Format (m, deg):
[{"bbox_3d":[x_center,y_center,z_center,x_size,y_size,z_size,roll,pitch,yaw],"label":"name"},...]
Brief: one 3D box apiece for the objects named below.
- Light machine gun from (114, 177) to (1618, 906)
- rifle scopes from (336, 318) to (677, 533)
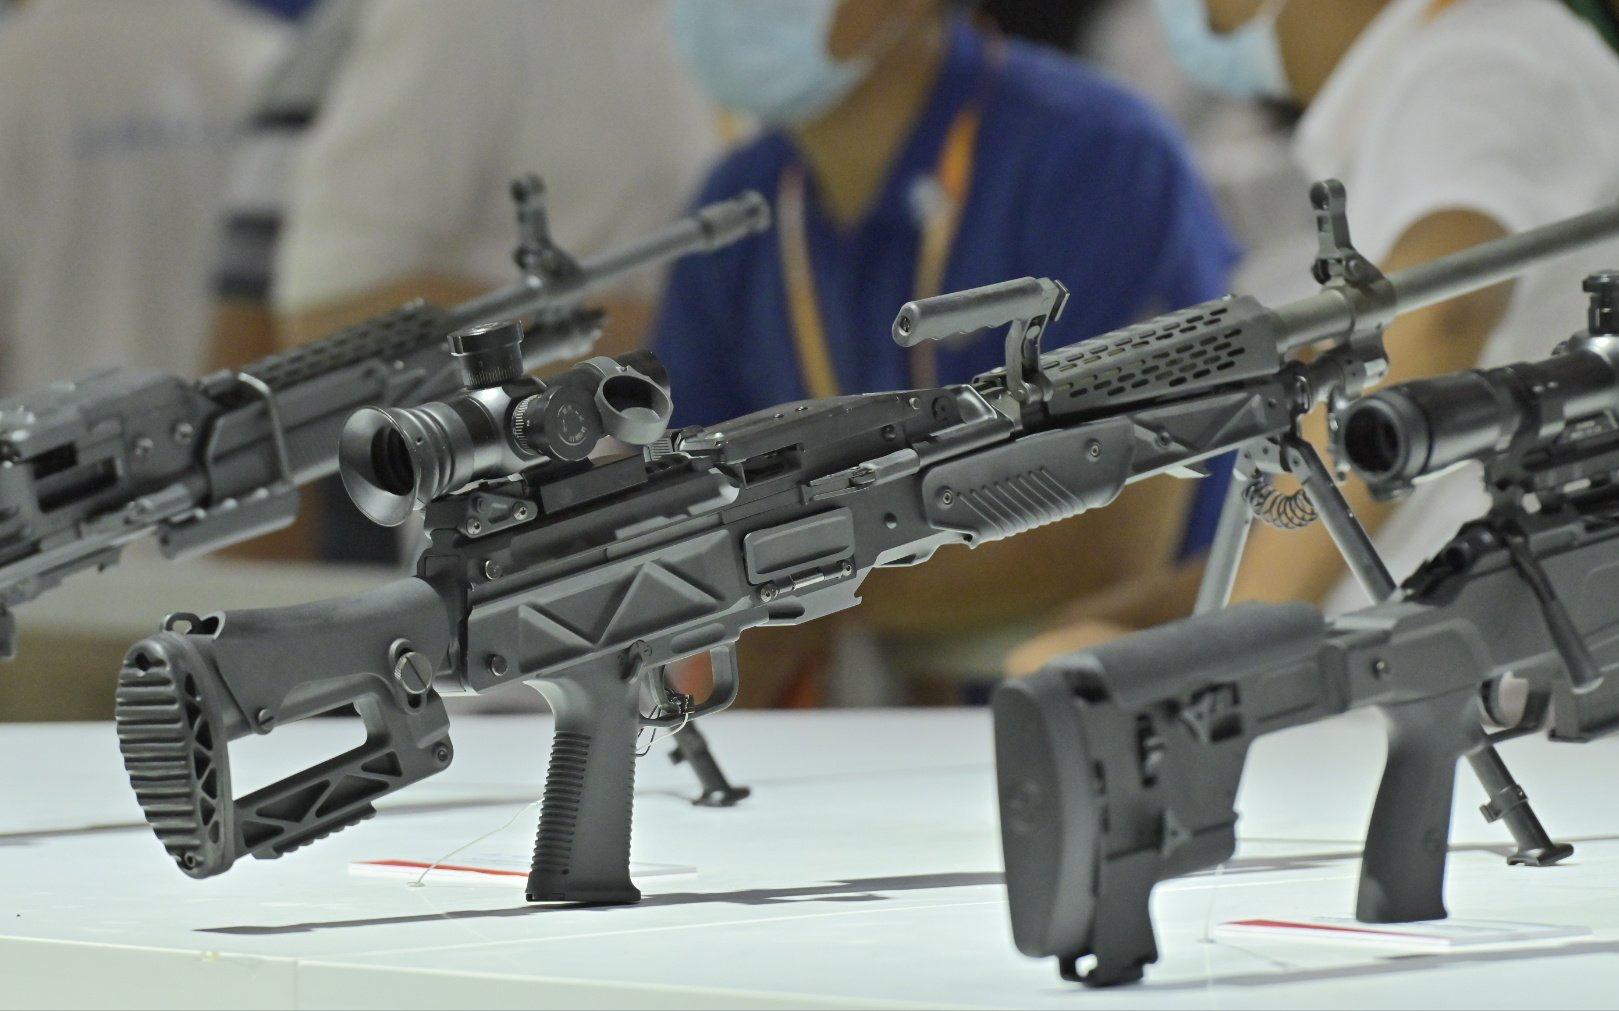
[{"bbox_3d":[0.209,0.080,5.022,2.759,0.955,0.766,-18,16,-14],"label":"Light machine gun"},{"bbox_3d":[-0.618,-0.185,4.591,0.667,0.305,0.339,-18,14,-40],"label":"rifle scopes"}]
